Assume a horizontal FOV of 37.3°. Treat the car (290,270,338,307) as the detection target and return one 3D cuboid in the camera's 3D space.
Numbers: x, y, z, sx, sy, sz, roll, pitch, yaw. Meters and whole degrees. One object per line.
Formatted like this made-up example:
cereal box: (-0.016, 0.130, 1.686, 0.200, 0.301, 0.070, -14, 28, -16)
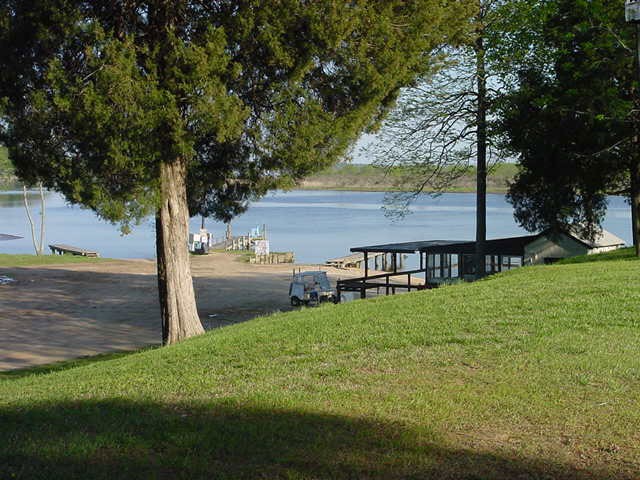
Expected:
car: (-0.345, 2.024, 40.048, 1.585, 1.380, 1.346, -1, 2, -7)
